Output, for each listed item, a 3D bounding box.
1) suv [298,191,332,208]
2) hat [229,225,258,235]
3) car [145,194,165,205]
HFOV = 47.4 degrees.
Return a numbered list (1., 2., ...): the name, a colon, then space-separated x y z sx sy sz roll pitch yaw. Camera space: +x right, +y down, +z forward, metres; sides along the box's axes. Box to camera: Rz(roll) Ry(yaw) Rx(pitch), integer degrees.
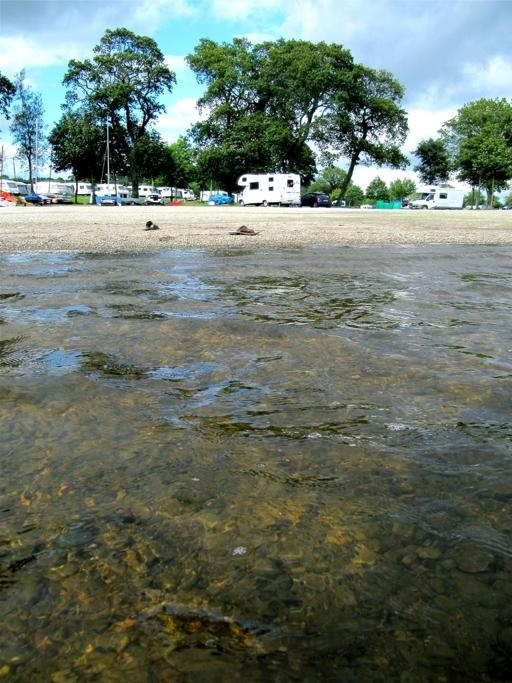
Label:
1. suv: 5.124 -11.595 48.775 1.880 1.157 2.799 -7 23 -21
2. hat: -0.265 -2.393 12.695 0.612 0.197 0.726 0 11 -2
3. car: -10.282 -14.351 59.303 1.947 0.993 1.250 7 13 30
